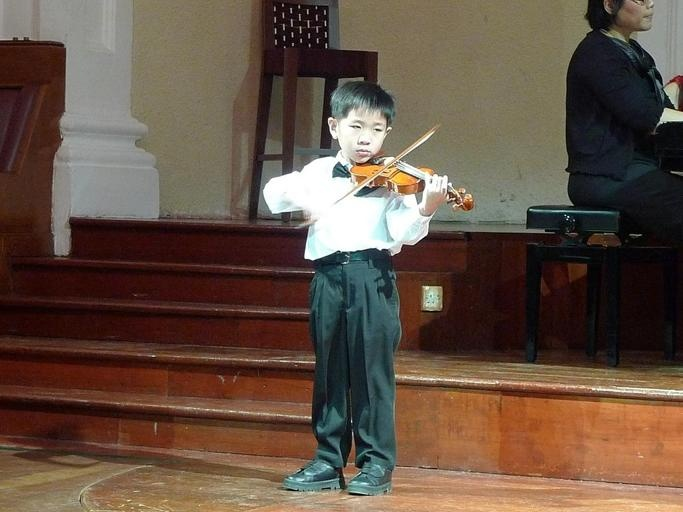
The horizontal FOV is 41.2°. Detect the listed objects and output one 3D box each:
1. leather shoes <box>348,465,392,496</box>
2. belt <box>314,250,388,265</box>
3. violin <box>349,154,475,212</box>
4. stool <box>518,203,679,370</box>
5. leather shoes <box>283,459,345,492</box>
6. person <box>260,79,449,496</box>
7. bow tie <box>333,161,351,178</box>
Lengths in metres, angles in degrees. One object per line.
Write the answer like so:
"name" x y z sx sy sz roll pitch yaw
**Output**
"leather shoes" 0.103 0.811 3.226 0.078 0.075 0.175 -4 -11 32
"belt" 0.040 0.008 3.227 0.259 0.070 0.081 3 3 -2
"violin" 0.241 -0.262 3.003 0.188 0.077 0.406 -25 35 -27
"stool" 1.159 0.133 4.039 0.653 0.688 0.527 4 4 18
"leather shoes" -0.087 0.805 3.309 0.236 0.099 0.094 3 -5 -15
"person" 0.055 0.123 3.229 0.656 1.478 0.221 5 4 25
"bow tie" -0.002 -0.304 3.216 0.058 0.019 0.058 11 -11 -42
